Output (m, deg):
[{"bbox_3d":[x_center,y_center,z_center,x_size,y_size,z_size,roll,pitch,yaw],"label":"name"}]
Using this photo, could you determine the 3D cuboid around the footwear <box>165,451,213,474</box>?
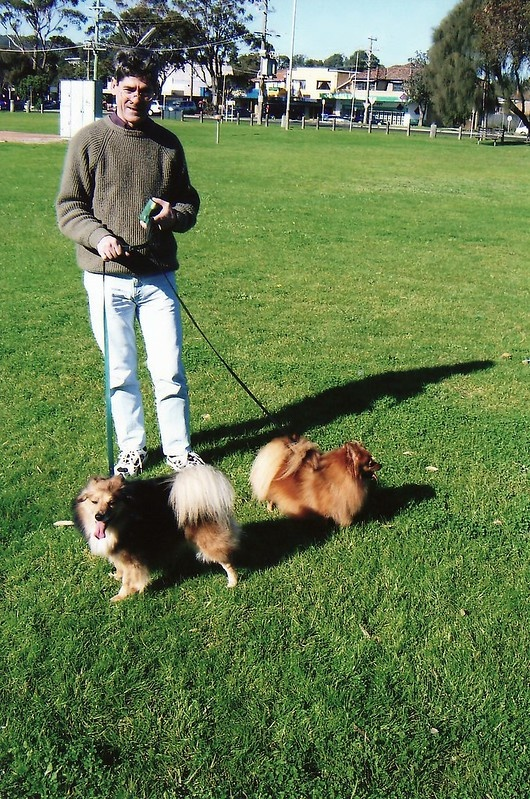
[{"bbox_3d":[-0.477,0.380,3.742,0.319,0.150,0.134,2,15,25],"label":"footwear"}]

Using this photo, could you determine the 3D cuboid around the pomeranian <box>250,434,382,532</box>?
[{"bbox_3d":[0.285,0.442,3.752,0.745,0.543,0.514,12,31,13],"label":"pomeranian"}]

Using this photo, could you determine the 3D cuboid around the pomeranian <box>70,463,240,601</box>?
[{"bbox_3d":[-0.504,0.544,3.002,0.727,0.606,0.535,0,10,-8],"label":"pomeranian"}]

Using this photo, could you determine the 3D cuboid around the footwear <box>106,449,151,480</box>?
[{"bbox_3d":[-0.864,0.415,3.954,0.118,0.149,0.339,31,20,15],"label":"footwear"}]

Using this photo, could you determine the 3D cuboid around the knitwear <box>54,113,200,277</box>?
[{"bbox_3d":[-0.784,-1.210,3.657,0.812,0.865,0.472,-5,26,-20],"label":"knitwear"}]
